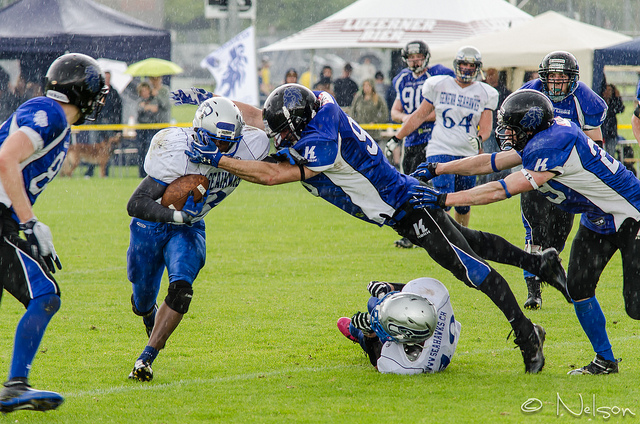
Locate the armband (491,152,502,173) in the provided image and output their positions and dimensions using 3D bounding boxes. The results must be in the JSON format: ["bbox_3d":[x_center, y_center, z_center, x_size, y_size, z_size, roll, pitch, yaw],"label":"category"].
[{"bbox_3d":[1.909,-0.532,10.803,0.045,0.168,0.170,-4,15,21],"label":"armband"}]

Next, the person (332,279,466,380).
[{"bbox_3d":[0.773,1.162,10.513,1.130,0.648,0.868,3,43,41],"label":"person"}]

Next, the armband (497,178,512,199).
[{"bbox_3d":[1.904,-0.239,10.349,0.120,0.216,0.210,3,15,12],"label":"armband"}]

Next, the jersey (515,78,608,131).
[{"bbox_3d":[2.841,-1.213,12.086,0.710,0.490,0.924,29,-4,-33],"label":"jersey"}]

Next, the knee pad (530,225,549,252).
[{"bbox_3d":[2.662,0.307,12.232,0.154,0.298,0.202,9,-21,9],"label":"knee pad"}]

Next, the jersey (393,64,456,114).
[{"bbox_3d":[1.506,-1.755,14.366,0.711,0.737,0.381,-9,8,5],"label":"jersey"}]

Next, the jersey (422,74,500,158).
[{"bbox_3d":[1.865,-1.311,13.661,1.063,1.182,0.603,14,-10,-9],"label":"jersey"}]

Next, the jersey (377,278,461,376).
[{"bbox_3d":[1.072,1.259,10.393,0.517,0.755,1.002,17,-36,-3],"label":"jersey"}]

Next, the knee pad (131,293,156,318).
[{"bbox_3d":[-1.930,1.015,10.891,0.289,0.284,0.192,1,14,7],"label":"knee pad"}]

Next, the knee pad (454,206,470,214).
[{"bbox_3d":[1.919,-0.032,13.551,0.253,0.120,0.085,-9,16,-29],"label":"knee pad"}]

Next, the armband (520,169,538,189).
[{"bbox_3d":[2.129,-0.344,10.226,0.168,0.194,0.103,2,14,10],"label":"armband"}]

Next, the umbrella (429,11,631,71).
[{"bbox_3d":[4.285,-3.466,20.282,2.829,1.030,3.035,1,7,20],"label":"umbrella"}]

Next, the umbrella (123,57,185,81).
[{"bbox_3d":[-3.682,-3.159,21.975,1.230,0.328,0.841,-3,15,-11],"label":"umbrella"}]

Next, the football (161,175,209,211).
[{"bbox_3d":[-1.389,-0.205,10.450,0.450,0.281,0.302,-37,-12,0],"label":"football"}]
